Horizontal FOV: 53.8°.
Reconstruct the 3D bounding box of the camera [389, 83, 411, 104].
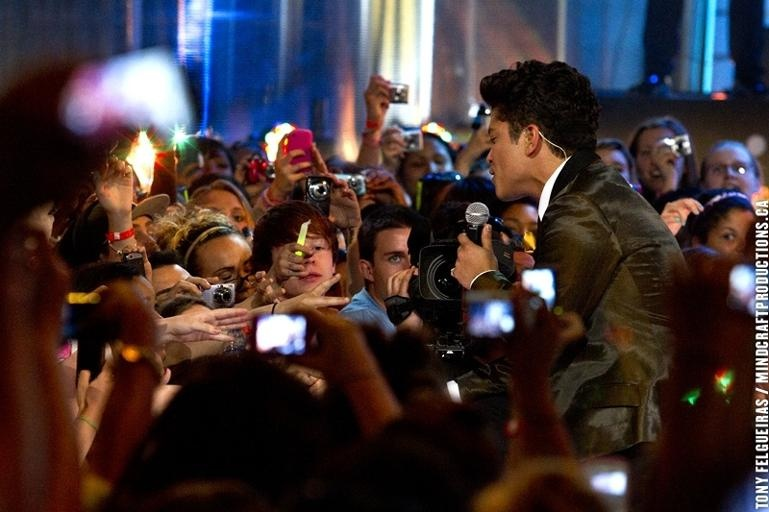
[{"bbox_3d":[0.110,-1.116,5.199,0.135,0.097,0.139,2,5,24],"label":"camera"}]
